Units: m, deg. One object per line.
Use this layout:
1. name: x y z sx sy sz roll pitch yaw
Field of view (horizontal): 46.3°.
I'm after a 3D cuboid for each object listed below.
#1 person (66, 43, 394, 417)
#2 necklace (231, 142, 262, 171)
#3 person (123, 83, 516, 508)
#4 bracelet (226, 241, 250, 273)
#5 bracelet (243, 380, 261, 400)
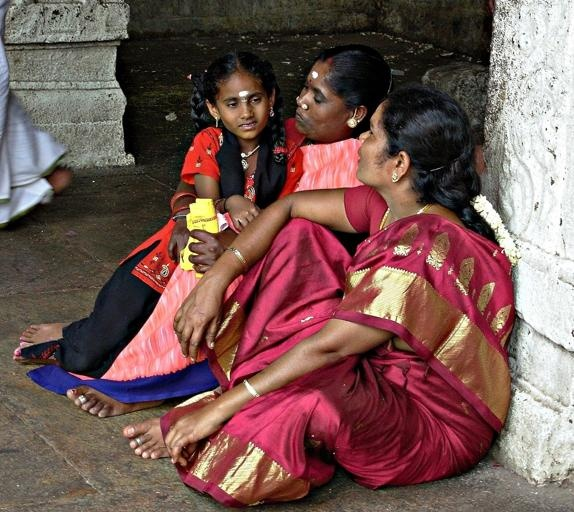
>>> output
1. person: -0.464 -0.133 2.727 1.548 1.458 0.680 -21 43 -24
2. necklace: -0.154 -0.425 2.844 0.138 0.076 0.026 -34 -10 1
3. person: 0.133 0.104 2.304 1.167 1.355 0.743 -4 16 -21
4. bracelet: -0.181 0.002 2.483 0.096 0.099 0.039 19 62 48
5. bracelet: -0.125 0.448 2.239 0.015 0.055 0.058 -51 27 -12
